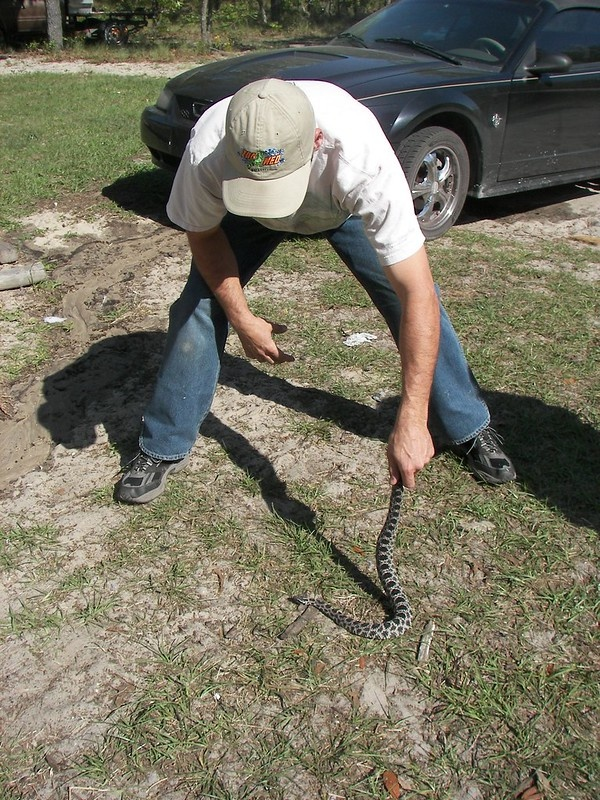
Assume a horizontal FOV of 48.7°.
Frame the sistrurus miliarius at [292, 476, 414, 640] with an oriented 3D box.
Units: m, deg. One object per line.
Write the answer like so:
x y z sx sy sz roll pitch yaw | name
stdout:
0.231 0.482 2.195 0.423 0.661 0.055 15 19 2 | sistrurus miliarius

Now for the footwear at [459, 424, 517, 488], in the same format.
0.766 0.225 2.843 0.149 0.132 0.298 -5 43 -51 | footwear

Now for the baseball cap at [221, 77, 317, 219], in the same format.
-0.093 -0.681 1.753 0.273 0.369 0.198 7 -12 7 | baseball cap

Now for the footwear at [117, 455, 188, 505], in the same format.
-0.620 0.293 2.803 0.157 0.155 0.393 -1 19 18 | footwear

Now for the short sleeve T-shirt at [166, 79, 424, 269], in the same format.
0.127 -0.675 2.048 0.563 0.374 0.842 7 41 33 | short sleeve T-shirt
